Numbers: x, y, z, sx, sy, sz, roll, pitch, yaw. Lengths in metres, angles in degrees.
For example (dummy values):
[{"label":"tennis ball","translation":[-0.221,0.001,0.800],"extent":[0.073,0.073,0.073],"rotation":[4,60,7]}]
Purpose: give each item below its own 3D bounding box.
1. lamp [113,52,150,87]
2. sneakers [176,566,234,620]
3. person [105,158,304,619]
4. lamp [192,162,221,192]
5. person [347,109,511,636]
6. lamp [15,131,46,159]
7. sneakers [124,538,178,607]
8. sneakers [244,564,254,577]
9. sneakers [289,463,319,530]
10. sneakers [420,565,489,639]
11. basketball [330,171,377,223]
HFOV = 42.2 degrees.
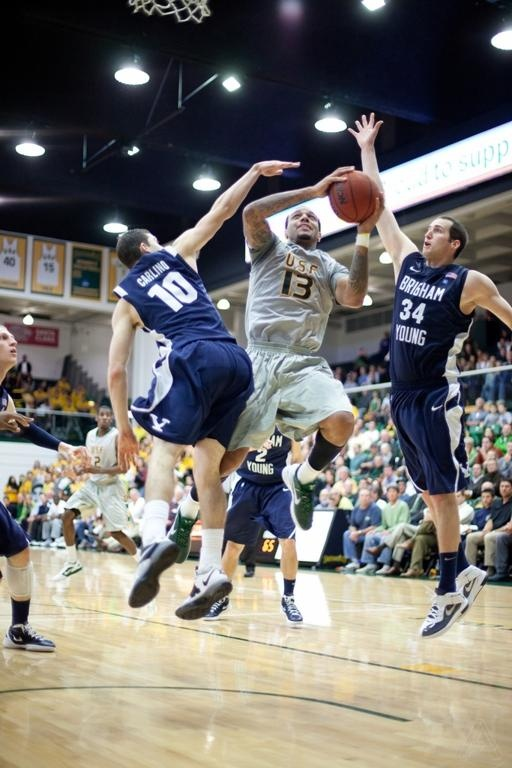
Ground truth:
[{"label":"lamp","translation":[-1.574,-4.060,8.411],"extent":[0.380,0.407,0.475],"rotation":[1,-3,-15]},{"label":"sneakers","translation":[-0.167,0.703,2.188],"extent":[0.155,0.158,0.178],"rotation":[0,-3,5]},{"label":"person","translation":[-0.209,0.000,2.485],"extent":[0.666,1.989,0.935],"rotation":[1,-3,-12]},{"label":"lamp","translation":[-0.883,-3.809,12.233],"extent":[0.543,0.514,0.532],"rotation":[-2,-20,1]},{"label":"person","translation":[0.833,-0.114,3.165],"extent":[0.595,2.542,0.768],"rotation":[0,-3,2]},{"label":"lamp","translation":[-3.729,-4.024,11.022],"extent":[0.484,0.105,0.465],"rotation":[10,-35,-34]},{"label":"sneakers","translation":[-0.314,0.589,2.049],"extent":[0.143,0.222,0.196],"rotation":[0,-3,-8]},{"label":"sneakers","translation":[-0.074,2.318,8.184],"extent":[0.077,0.155,0.166],"rotation":[-1,-20,9]},{"label":"sneakers","translation":[0.283,0.607,3.437],"extent":[0.132,0.368,0.163],"rotation":[-8,14,-11]},{"label":"sneakers","translation":[0.922,1.000,3.071],"extent":[0.139,0.257,0.449],"rotation":[-2,-4,38]},{"label":"basketball","translation":[0.440,-0.849,3.152],"extent":[0.259,0.285,0.250],"rotation":[4,3,3]}]
